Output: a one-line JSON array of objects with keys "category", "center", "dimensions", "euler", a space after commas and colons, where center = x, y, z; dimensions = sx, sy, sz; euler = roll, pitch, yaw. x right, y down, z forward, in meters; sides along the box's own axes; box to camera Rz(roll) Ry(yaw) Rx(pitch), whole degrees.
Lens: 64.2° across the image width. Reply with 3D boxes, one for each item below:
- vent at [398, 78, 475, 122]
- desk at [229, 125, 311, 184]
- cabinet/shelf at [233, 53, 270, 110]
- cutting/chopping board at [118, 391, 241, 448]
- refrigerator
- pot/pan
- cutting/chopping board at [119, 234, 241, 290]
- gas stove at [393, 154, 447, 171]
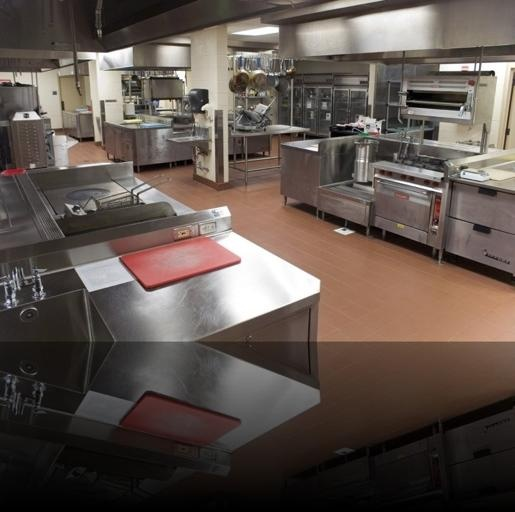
[{"category": "vent", "center": [1.812, -1.574, 4.183], "dimensions": [0.665, 0.388, 0.455], "euler": [11, 16, 25]}, {"category": "desk", "center": [0.165, -2.283, 9.169], "dimensions": [1.731, 0.779, 1.302], "euler": [-18, 22, -33]}, {"category": "cabinet/shelf", "center": [-0.091, -2.780, 6.445], "dimensions": [0.660, 0.657, 0.600], "euler": [4, 0, -6]}, {"category": "cutting/chopping board", "center": [-0.207, 0.411, 1.033], "dimensions": [0.305, 0.026, 0.199], "euler": [4, 1, 22]}, {"category": "refrigerator", "center": [1.878, -4.327, 11.308], "dimensions": [0.589, 1.655, 2.757], "euler": [5, 0, -36]}, {"category": "pot/pan", "center": [0.025, -2.735, 6.391], "dimensions": [0.748, 0.412, 0.183], "euler": [-3, 2, -4]}, {"category": "cutting/chopping board", "center": [-0.399, 0.030, 2.163], "dimensions": [0.514, 0.272, 0.431], "euler": [4, 0, -35]}, {"category": "gas stove", "center": [1.857, -1.087, 4.755], "dimensions": [0.492, 0.069, 0.347], "euler": [10, 25, 24]}]
